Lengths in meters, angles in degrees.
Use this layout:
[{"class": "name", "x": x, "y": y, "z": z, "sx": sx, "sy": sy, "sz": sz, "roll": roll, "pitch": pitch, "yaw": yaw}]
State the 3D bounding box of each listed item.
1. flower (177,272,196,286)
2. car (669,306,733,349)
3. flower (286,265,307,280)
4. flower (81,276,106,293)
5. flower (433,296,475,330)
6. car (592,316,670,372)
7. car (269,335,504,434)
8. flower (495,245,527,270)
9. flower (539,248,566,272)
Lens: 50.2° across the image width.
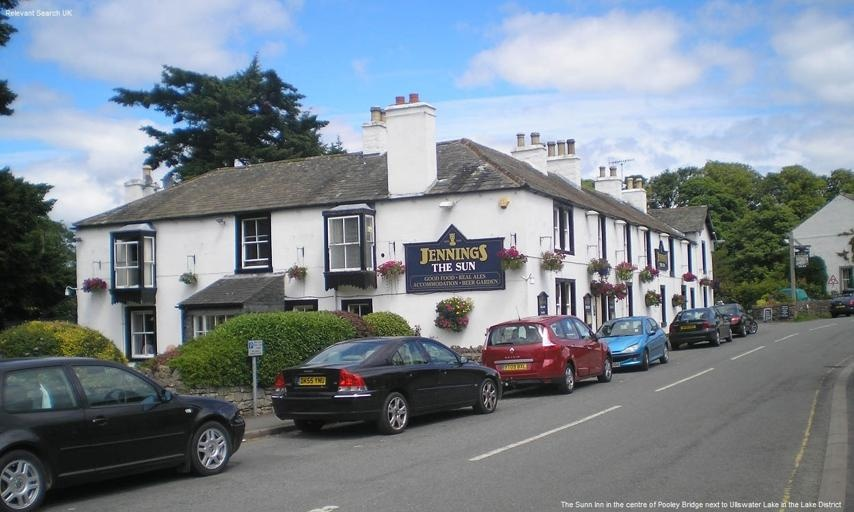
[{"class": "flower", "x": -10.574, "y": 0.997, "z": 40.116, "sx": 0.627, "sy": 0.404, "sz": 0.626, "roll": -1, "pitch": -4, "yaw": 37}, {"class": "car", "x": 13.402, "y": 3.452, "z": 44.372, "sx": 2.670, "sy": 1.972, "sz": 4.345, "roll": -7, "pitch": -7, "yaw": 38}, {"class": "flower", "x": -5.504, "y": 0.700, "z": 38.608, "sx": 0.708, "sy": 0.491, "sz": 0.610, "roll": -3, "pitch": -6, "yaw": 21}, {"class": "flower", "x": -15.023, "y": 1.298, "z": 41.047, "sx": 0.832, "sy": 0.535, "sz": 0.793, "roll": -3, "pitch": -8, "yaw": 23}, {"class": "flower", "x": 1.077, "y": 2.260, "z": 36.693, "sx": 1.418, "sy": 0.913, "sz": 1.353, "roll": 1, "pitch": 11, "yaw": 1}, {"class": "car", "x": 8.070, "y": 3.318, "z": 35.037, "sx": 2.002, "sy": 1.730, "sz": 4.829, "roll": -1, "pitch": -2, "yaw": 32}, {"class": "car", "x": -1.039, "y": 3.562, "z": 25.576, "sx": 5.765, "sy": 2.600, "sz": 1.663, "roll": 1, "pitch": -6, "yaw": -34}, {"class": "flower", "x": 3.334, "y": 0.042, "z": 35.642, "sx": 0.950, "sy": 0.786, "sz": 0.880, "roll": -1, "pitch": -4, "yaw": 32}, {"class": "flower", "x": 5.162, "y": 0.149, "z": 37.176, "sx": 0.922, "sy": 0.705, "sz": 0.960, "roll": -2, "pitch": -3, "yaw": 31}]
